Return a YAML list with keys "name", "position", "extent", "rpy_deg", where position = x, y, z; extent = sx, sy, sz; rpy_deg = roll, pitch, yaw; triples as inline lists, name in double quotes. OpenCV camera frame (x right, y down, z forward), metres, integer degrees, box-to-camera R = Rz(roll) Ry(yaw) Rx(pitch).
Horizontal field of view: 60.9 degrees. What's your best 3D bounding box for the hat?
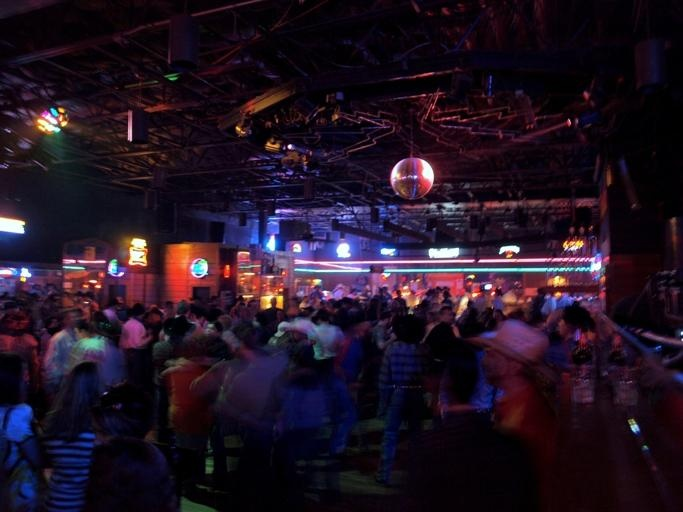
- name: "hat"
  position: [1.252, 0.594, 4.121]
  extent: [0.719, 0.230, 0.608]
  rpy_deg: [15, 3, -21]
